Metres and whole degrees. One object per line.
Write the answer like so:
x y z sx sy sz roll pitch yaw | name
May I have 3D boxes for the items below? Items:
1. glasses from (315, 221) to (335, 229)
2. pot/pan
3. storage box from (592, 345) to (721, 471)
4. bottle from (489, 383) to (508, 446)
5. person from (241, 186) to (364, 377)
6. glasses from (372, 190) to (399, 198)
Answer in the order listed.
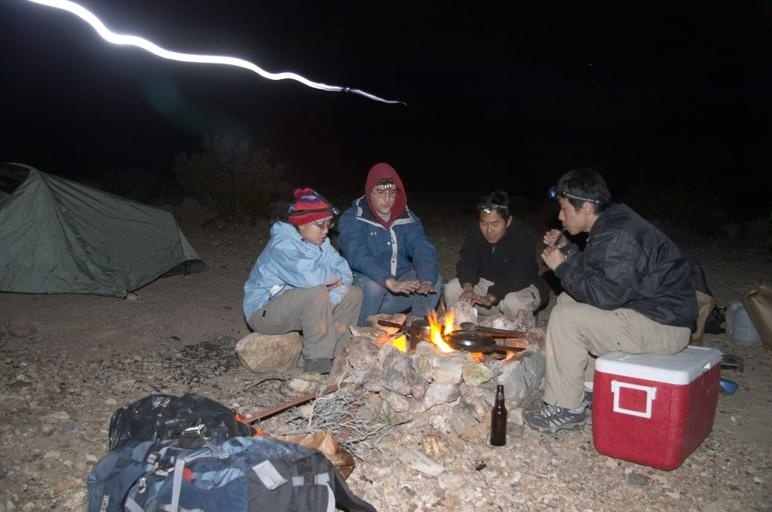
-0.609 -0.310 5.043 0.161 0.046 0.160 9 11 33 | glasses
0.622 0.731 4.608 0.828 0.104 0.477 5 4 9 | pot/pan
2.299 1.227 4.288 1.149 0.749 0.685 -1 1 -44 | storage box
0.925 1.268 4.149 0.143 0.504 0.233 5 17 13 | bottle
-0.842 0.216 5.153 0.980 1.640 0.741 10 19 27 | person
-0.010 -0.663 5.431 0.246 0.094 0.115 -1 16 -7 | glasses
